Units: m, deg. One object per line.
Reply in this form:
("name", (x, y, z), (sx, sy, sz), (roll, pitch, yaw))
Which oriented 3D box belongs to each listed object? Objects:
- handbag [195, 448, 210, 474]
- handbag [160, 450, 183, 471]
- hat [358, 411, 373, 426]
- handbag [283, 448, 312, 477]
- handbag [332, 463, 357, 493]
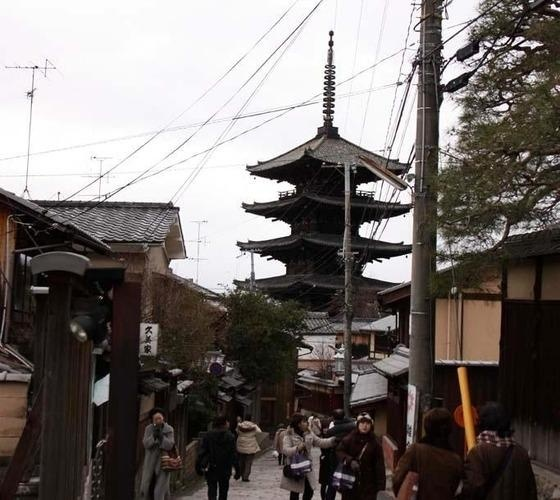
("handbag", (-1.162, 3.120, 11.194), (0.118, 0.342, 0.250), (5, 5, 6))
("handbag", (-1.408, 2.761, 9.946), (0.289, 0.224, 0.227), (0, -11, 3))
("hat", (0.944, 1.913, 8.661), (0.159, 0.109, 0.326), (0, -12, 4))
("handbag", (0.218, 2.874, 10.445), (0.337, 0.434, 0.176), (-3, 11, -22))
("handbag", (0.710, 2.537, 8.515), (0.252, 0.297, 0.175), (-4, -11, 22))
